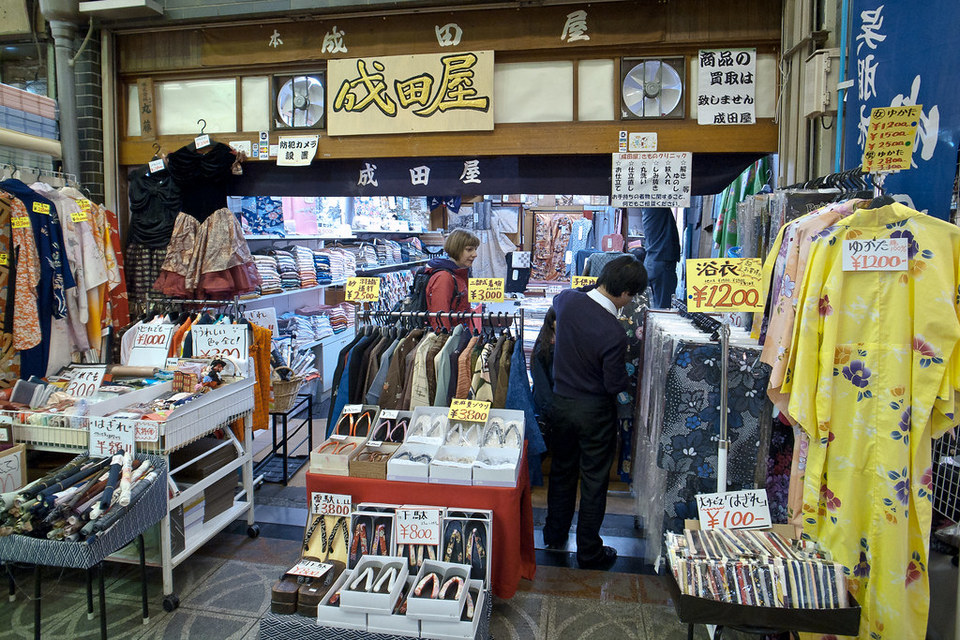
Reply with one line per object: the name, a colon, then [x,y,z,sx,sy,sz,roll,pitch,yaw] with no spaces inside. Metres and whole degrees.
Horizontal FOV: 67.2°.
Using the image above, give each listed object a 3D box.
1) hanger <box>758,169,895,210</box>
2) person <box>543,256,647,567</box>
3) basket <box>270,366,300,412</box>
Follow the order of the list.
hanger: [2.183,-0.819,4.429,0.531,0.201,0.606,4,10,31]
person: [0.779,0.630,4.989,0.681,2.139,0.341,0,9,9]
basket: [-1.588,0.574,5.891,0.241,0.332,0.330,3,9,7]
